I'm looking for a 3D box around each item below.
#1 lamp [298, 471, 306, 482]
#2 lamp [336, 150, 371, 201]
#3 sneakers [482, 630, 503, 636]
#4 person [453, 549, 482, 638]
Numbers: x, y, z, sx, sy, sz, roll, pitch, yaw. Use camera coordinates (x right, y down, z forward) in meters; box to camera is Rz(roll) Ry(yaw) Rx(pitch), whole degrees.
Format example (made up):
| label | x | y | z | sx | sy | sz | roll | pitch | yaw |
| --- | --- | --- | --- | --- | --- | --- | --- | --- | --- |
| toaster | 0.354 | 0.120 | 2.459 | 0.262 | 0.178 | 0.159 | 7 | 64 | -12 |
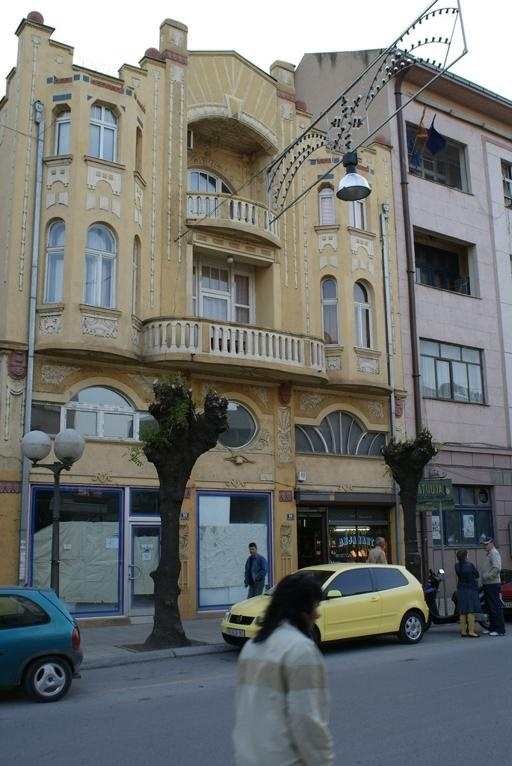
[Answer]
| label | x | y | z | sx | sy | sz | roll | pitch | yaw |
| --- | --- | --- | --- | --- | --- | --- | --- | --- | --- |
| lamp | 1.177 | 2.426 | 19.891 | 0.212 | 0.297 | 0.157 | 6 | -18 | -24 |
| lamp | 1.247 | -2.781 | 10.146 | 0.395 | 0.543 | 0.664 | -12 | 4 | -1 |
| sneakers | 4.494 | 4.779 | 14.542 | 0.115 | 0.157 | 0.375 | 3 | -20 | -41 |
| person | 4.020 | 4.030 | 14.464 | 0.524 | 1.315 | 0.693 | -11 | 4 | 14 |
